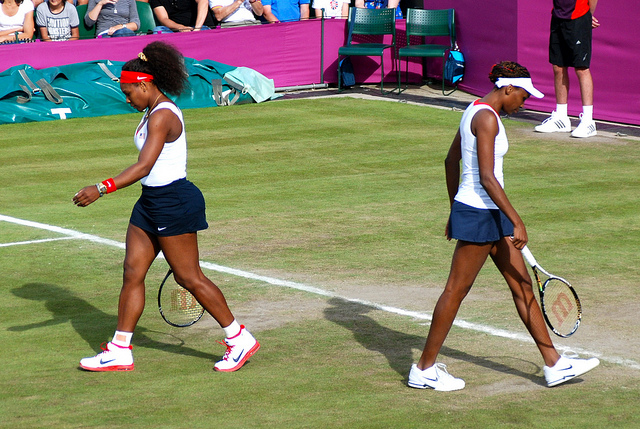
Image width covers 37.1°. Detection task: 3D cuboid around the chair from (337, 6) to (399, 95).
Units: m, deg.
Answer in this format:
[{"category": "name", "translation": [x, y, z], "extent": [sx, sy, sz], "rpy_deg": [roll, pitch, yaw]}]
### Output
[{"category": "chair", "translation": [1.183, -3.972, 22.920], "extent": [1.426, 1.962, 1.735], "rpy_deg": [5, 18, 17]}]

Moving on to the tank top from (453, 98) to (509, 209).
[{"category": "tank top", "translation": [1.478, -0.550, 8.688], "extent": [0.453, 0.959, 0.598], "rpy_deg": [3, 18, 10]}]

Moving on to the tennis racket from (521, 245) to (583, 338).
[{"category": "tennis racket", "translation": [2.355, 0.803, 9.610], "extent": [1.205, 0.420, 0.094], "rpy_deg": [36, -23, -29]}]

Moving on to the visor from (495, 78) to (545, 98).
[{"category": "visor", "translation": [1.864, -1.163, 8.805], "extent": [0.410, 0.085, 0.183], "rpy_deg": [10, 2, 3]}]

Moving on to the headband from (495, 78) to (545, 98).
[{"category": "headband", "translation": [1.862, -1.179, 8.800], "extent": [0.385, 0.079, 0.186], "rpy_deg": [10, 3, 5]}]

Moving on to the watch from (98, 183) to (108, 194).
[{"category": "watch", "translation": [-2.021, -0.243, 8.804], "extent": [0.079, 0.097, 0.079], "rpy_deg": [-4, 17, -12]}]
